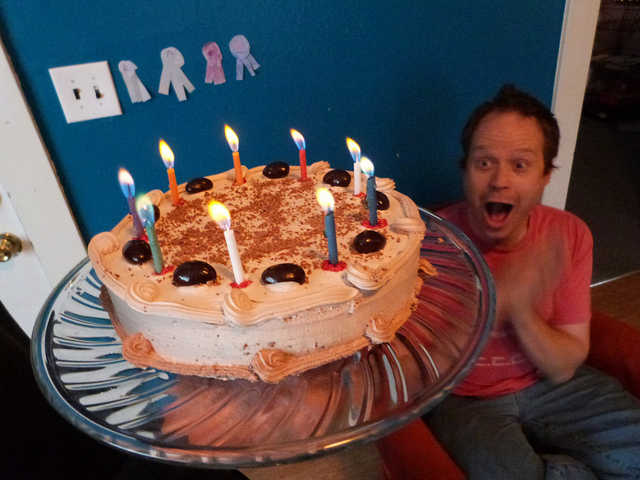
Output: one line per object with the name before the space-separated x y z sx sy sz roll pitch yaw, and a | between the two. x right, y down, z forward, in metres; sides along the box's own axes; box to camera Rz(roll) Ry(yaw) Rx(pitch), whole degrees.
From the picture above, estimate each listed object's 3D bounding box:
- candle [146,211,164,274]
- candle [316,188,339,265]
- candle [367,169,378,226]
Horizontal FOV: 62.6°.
candle | -0.729 -0.006 2.279 0.040 0.297 0.104 -16 28 -17
candle | 0.047 -0.057 2.241 0.065 0.323 0.069 3 29 19
candle | 0.251 -0.197 2.494 0.042 0.244 0.039 -2 18 10
